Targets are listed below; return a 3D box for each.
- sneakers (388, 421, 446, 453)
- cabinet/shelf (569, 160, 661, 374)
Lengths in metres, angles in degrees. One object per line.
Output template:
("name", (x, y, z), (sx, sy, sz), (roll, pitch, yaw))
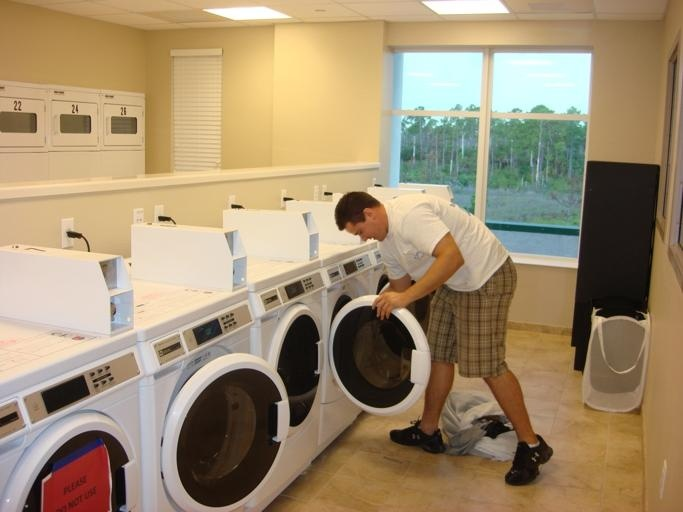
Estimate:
("sneakers", (0.490, 1.157, 3.287), (0.364, 0.183, 0.140), (10, 8, 30))
("cabinet/shelf", (2.307, 0.104, 4.286), (0.568, 1.772, 0.373), (7, 12, 29))
